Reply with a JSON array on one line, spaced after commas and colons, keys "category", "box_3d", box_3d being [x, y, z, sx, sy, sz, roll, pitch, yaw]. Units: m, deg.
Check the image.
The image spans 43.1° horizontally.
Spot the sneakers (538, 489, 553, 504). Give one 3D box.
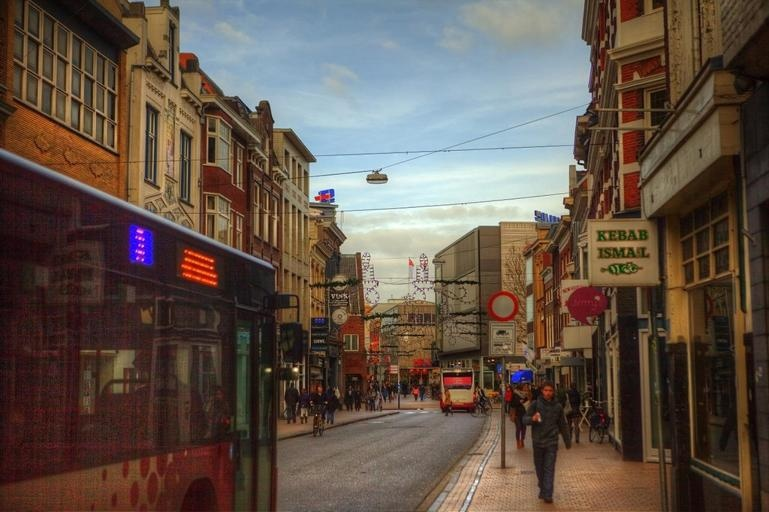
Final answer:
[{"category": "sneakers", "box_3d": [2.875, 4.353, 17.363, 0.116, 0.194, 0.396, 2, -25, -5]}]

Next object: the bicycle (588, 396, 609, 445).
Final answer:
[{"category": "bicycle", "box_3d": [7.184, 5.636, 31.856, 0.806, 1.100, 1.774, 0, -8, 5]}]
